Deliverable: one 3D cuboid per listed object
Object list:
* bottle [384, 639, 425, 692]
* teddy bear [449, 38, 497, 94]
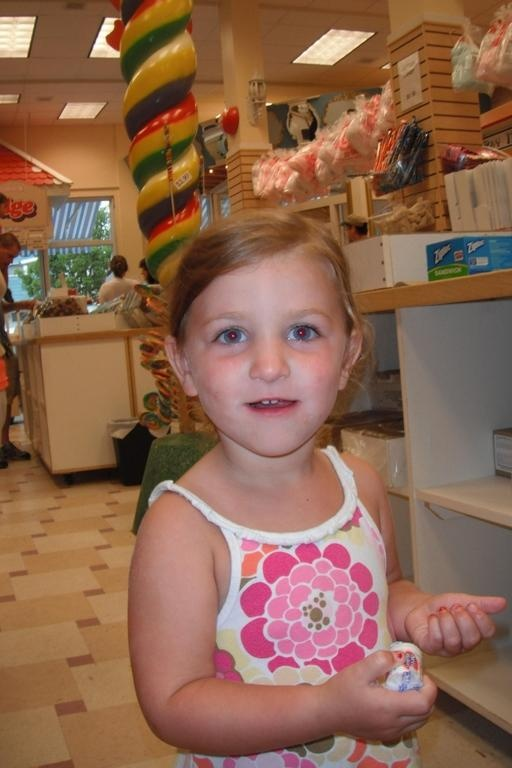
[{"bbox_3d":[0.127,0.231,0.464,0.030,0.050,0.033,0,0,17],"label":"bottle"},{"bbox_3d":[0.753,-1.061,1.846,0.068,0.183,0.178,-4,11,-29],"label":"teddy bear"}]
